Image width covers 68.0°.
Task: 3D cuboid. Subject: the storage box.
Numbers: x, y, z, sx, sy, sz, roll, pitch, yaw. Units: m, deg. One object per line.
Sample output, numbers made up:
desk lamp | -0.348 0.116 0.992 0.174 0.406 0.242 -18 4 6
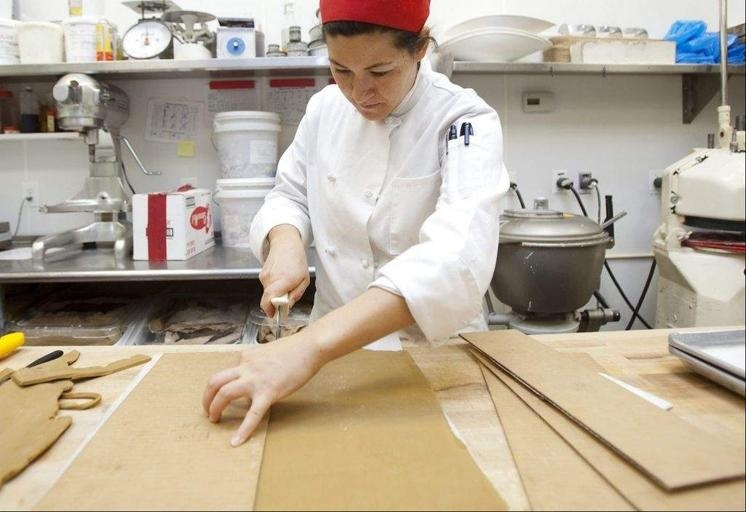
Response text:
storage box | -0.881 -0.151 2.470 0.243 0.276 0.398 3 12 4

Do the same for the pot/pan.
pot/pan | 0.651 0.005 2.127 0.435 0.305 0.443 4 6 26

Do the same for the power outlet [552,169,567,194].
power outlet | 0.941 -0.369 2.753 0.090 0.106 0.085 0 12 5

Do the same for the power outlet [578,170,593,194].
power outlet | 1.067 -0.364 2.770 0.070 0.106 0.075 0 12 4

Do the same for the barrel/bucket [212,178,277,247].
barrel/bucket | -0.581 -0.219 2.594 0.324 0.303 0.307 1 11 0

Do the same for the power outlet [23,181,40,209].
power outlet | -1.693 -0.303 2.749 0.083 0.130 0.012 0 12 2

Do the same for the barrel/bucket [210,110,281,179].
barrel/bucket | -0.628 -0.517 2.574 0.346 0.292 0.336 1 12 0
